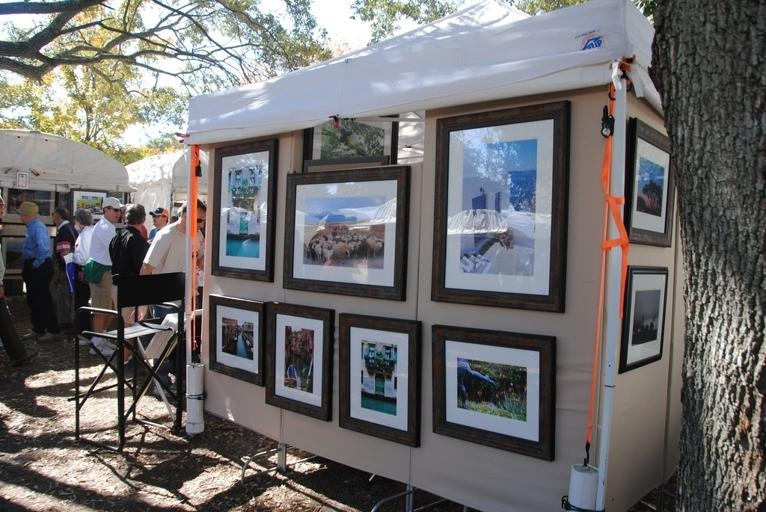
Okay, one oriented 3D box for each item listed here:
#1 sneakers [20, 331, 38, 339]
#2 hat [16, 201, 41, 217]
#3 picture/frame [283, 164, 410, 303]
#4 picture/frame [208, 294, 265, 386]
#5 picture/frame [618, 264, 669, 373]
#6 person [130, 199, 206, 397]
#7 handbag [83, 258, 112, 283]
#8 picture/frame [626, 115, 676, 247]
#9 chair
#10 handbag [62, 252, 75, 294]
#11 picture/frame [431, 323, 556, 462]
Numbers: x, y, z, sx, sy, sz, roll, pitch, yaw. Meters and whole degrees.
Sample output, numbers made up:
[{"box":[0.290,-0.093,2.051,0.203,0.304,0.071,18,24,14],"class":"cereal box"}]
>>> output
[{"box":[-5.319,1.188,9.338,0.232,0.104,0.136,9,9,30],"class":"sneakers"},{"box":[-5.188,-0.710,9.043,0.304,0.135,0.290,22,20,15],"class":"hat"},{"box":[-0.260,-0.182,4.998,1.043,0.979,0.083,4,3,33],"class":"picture/frame"},{"box":[-1.319,0.759,5.679,0.789,0.812,0.062,5,7,40],"class":"picture/frame"},{"box":[1.894,0.424,4.521,0.153,0.736,0.775,8,10,37],"class":"picture/frame"},{"box":[-2.401,0.377,7.269,0.642,2.034,0.847,20,14,37],"class":"person"},{"box":[-3.842,0.204,8.435,0.332,0.278,0.265,10,-3,-44],"class":"handbag"},{"box":[1.879,-0.547,4.424,0.046,0.972,0.891,-3,-5,39],"class":"picture/frame"},{"box":[-2.372,0.934,6.317,0.898,1.419,0.887,-4,-3,-10],"class":"chair"},{"box":[-4.575,0.243,9.103,0.151,0.502,0.375,-5,7,-18],"class":"handbag"},{"box":[0.812,0.954,4.409,0.970,0.980,0.083,1,2,33],"class":"picture/frame"}]
